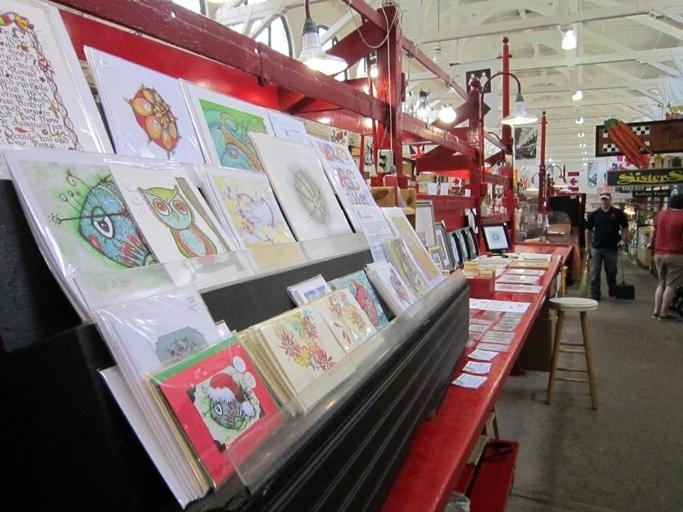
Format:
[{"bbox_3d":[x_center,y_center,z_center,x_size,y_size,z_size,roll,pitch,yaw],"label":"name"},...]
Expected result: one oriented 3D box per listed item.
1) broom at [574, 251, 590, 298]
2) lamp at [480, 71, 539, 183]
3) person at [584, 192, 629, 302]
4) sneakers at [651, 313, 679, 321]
[{"bbox_3d":[4.217,0.299,7.664,0.139,0.712,0.087,21,-8,-43],"label":"broom"},{"bbox_3d":[1.762,-1.411,4.717,0.626,1.115,0.379,4,2,9],"label":"lamp"},{"bbox_3d":[4.436,-0.178,7.370,0.594,1.746,1.311,3,8,34],"label":"person"},{"bbox_3d":[4.336,0.789,5.851,0.316,0.120,0.116,1,10,-19],"label":"sneakers"}]
